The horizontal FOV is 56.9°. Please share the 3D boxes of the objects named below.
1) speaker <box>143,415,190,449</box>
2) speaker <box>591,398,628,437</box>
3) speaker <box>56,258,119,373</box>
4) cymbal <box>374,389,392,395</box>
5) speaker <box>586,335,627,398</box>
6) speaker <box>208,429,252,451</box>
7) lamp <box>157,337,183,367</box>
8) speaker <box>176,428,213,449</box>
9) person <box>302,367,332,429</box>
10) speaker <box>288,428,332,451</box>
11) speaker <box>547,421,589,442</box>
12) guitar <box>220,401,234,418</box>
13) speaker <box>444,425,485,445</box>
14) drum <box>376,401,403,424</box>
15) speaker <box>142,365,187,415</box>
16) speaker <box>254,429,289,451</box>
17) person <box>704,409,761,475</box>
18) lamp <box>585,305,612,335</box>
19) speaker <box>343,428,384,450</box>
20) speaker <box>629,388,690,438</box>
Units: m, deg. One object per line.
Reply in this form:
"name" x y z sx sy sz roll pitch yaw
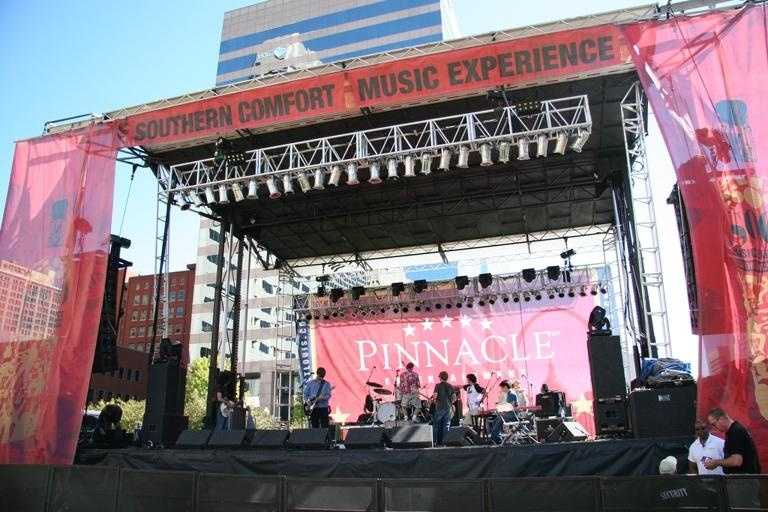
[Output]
"speaker" -5.311 4.330 17.225 1.284 0.683 0.844 8 5 -36
"speaker" 5.045 3.635 15.738 0.745 0.921 0.792 -11 -32 23
"speaker" -7.247 1.603 17.346 1.338 3.672 1.657 0 -17 -19
"cymbal" -0.080 4.237 21.638 0.391 0.093 0.388 -1 -20 13
"speaker" 5.240 2.556 16.035 1.047 1.650 1.099 -5 -7 24
"speaker" -3.528 4.211 15.991 0.681 0.345 0.495 -5 -27 12
"lamp" -5.473 2.525 18.120 0.559 0.744 1.252 0 -16 -17
"speaker" -4.399 4.261 16.207 0.813 0.431 0.402 -13 -18 27
"person" -1.734 3.685 18.192 0.685 1.592 1.401 -3 -16 -8
"speaker" -1.701 4.108 15.591 0.895 0.495 0.522 -4 -16 -4
"speaker" 4.135 4.061 15.953 0.554 0.343 0.643 -28 -29 28
"guitar" -3.971 3.931 17.821 0.301 0.359 0.204 -1 -16 -16
"speaker" 1.676 3.946 15.254 0.600 0.426 1.007 -16 -19 35
"drum" 0.139 4.659 20.771 0.640 0.621 1.220 -3 -16 -8
"speaker" -5.368 3.326 17.436 0.947 1.266 0.710 3 -18 -27
"speaker" -2.575 4.151 15.806 0.833 0.436 0.274 -11 -17 19
"person" 6.188 3.392 12.566 0.590 1.080 0.628 -18 -53 31
"lamp" 5.042 1.582 16.624 0.754 0.831 0.753 0 -7 14
"speaker" -0.438 3.993 15.291 0.874 0.454 0.368 -4 -16 -3
"speaker" 5.652 3.342 14.753 1.478 1.073 0.781 -2 -2 -17
